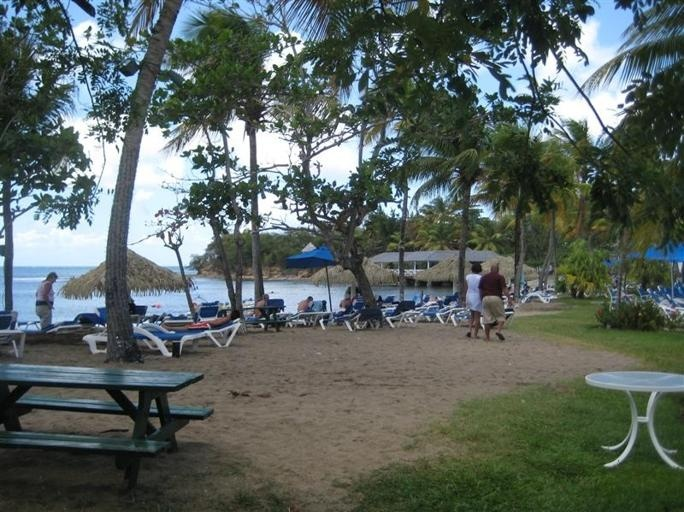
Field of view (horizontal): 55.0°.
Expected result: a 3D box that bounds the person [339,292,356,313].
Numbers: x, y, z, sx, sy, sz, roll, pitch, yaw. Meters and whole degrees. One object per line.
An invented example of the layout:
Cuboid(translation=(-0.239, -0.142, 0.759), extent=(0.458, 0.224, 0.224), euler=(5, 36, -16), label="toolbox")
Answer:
Cuboid(translation=(0.208, 1.478, 22.247), extent=(0.353, 0.881, 0.295), euler=(9, 21, -31), label="person")

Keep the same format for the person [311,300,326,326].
Cuboid(translation=(-0.758, 1.810, 21.454), extent=(0.642, 0.901, 0.685), euler=(2, -4, -16), label="person")
